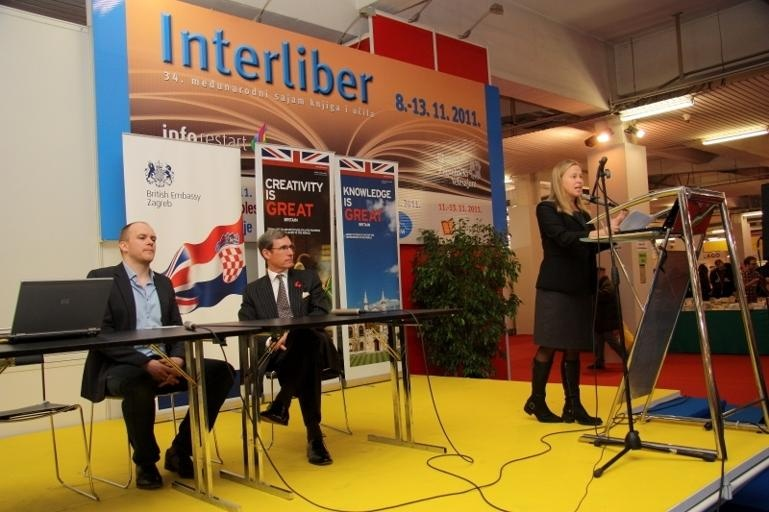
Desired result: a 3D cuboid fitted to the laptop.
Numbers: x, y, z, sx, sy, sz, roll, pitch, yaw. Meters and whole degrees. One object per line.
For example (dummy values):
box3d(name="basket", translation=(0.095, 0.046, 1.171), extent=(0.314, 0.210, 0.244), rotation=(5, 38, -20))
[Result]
box3d(name="laptop", translation=(-2.234, 0.370, 3.974), extent=(0.548, 0.357, 0.474), rotation=(3, -13, -28))

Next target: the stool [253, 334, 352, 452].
box3d(name="stool", translation=(-0.662, 1.034, 4.648), extent=(0.721, 0.905, 0.388), rotation=(6, 0, 5))

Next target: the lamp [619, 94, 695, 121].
box3d(name="lamp", translation=(5.123, -2.632, 10.430), extent=(0.289, 0.239, 1.412), rotation=(13, -13, -42))

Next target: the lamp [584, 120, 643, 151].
box3d(name="lamp", translation=(4.590, -2.409, 11.464), extent=(1.040, 0.475, 0.641), rotation=(-2, 1, 25))

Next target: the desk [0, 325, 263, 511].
box3d(name="desk", translation=(-2.030, 1.323, 4.540), extent=(0.556, 0.817, 1.423), rotation=(-1, -2, 36))

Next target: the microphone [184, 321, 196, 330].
box3d(name="microphone", translation=(-1.354, 0.495, 3.997), extent=(0.069, 0.059, 0.115), rotation=(-3, 1, -20))

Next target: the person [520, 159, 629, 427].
box3d(name="person", translation=(1.840, 0.390, 5.279), extent=(1.130, 2.351, 0.916), rotation=(0, -1, 23))

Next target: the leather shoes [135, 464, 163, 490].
box3d(name="leather shoes", translation=(-1.780, 1.694, 4.338), extent=(0.103, 0.113, 0.302), rotation=(7, -15, -36))

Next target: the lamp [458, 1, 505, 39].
box3d(name="lamp", translation=(1.601, -3.807, 9.329), extent=(0.721, 0.545, 0.576), rotation=(-3, 1, 26))

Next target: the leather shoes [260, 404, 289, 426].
box3d(name="leather shoes", translation=(-0.932, 1.286, 4.612), extent=(0.333, 0.134, 0.119), rotation=(13, -17, -11))
